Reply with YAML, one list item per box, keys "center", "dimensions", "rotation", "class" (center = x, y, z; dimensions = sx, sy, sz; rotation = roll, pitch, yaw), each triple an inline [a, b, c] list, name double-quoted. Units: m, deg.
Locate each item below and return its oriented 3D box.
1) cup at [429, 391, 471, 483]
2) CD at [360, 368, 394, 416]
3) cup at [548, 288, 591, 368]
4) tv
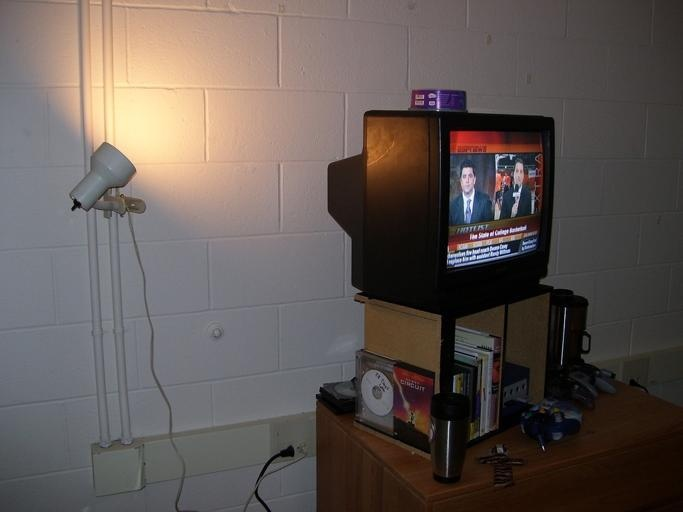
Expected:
- center: [0.346, 0.583, 1.946]
  dimensions: [0.115, 0.263, 0.113]
  rotation: [-1, 13, 0]
  class: "cup"
- center: [0.131, 0.477, 2.143]
  dimensions: [0.017, 0.183, 0.158]
  rotation: [-7, 10, -42]
  class: "CD"
- center: [0.921, 0.289, 2.586]
  dimensions: [0.250, 0.354, 0.246]
  rotation: [0, 6, 0]
  class: "cup"
- center: [0.361, -0.172, 2.326]
  dimensions: [0.681, 0.661, 0.661]
  rotation: [9, 13, 41]
  class: "tv"
